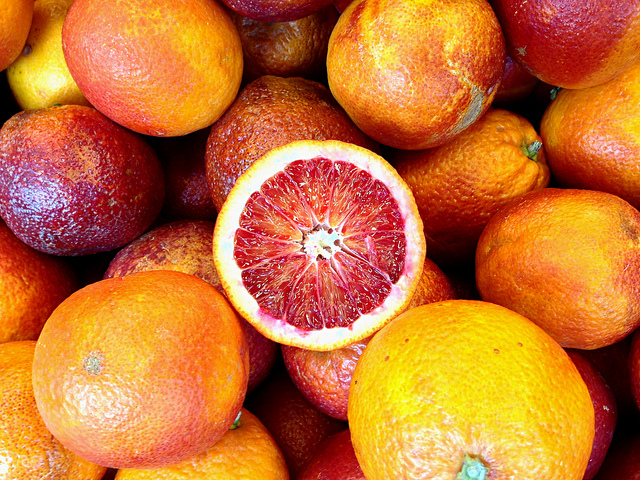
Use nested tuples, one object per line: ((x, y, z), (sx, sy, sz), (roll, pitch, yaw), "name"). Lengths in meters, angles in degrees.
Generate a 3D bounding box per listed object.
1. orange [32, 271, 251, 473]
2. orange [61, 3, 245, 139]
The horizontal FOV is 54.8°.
((-0.364, 0.254, 1.448), (0.413, 0.401, 0.420), (20, 80, 2), "orange")
((-0.394, -0.369, 1.451), (0.352, 0.286, 0.295), (9, 43, -31), "orange")
